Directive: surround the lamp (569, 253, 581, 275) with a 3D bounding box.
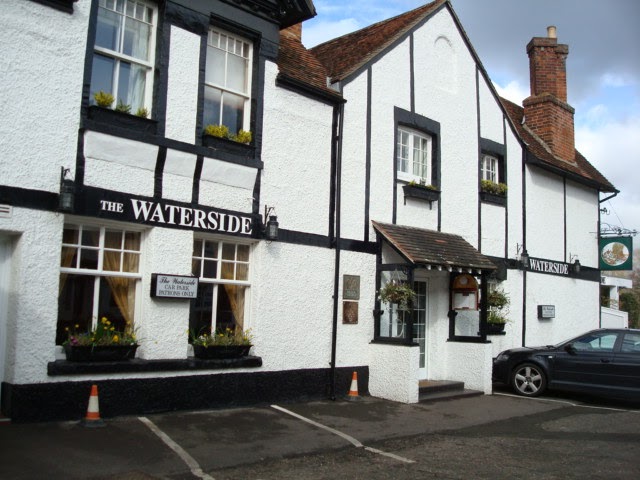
[{"bbox_3d":[8.305,0.794,20.782,0.246,0.688,0.723,1,-2,40],"label":"lamp"}]

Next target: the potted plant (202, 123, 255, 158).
[{"bbox_3d":[-1.861,-1.988,12.645,1.177,0.536,0.338,4,-2,-41],"label":"potted plant"}]

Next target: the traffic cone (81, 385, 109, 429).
[{"bbox_3d":[-3.688,2.689,10.440,0.328,0.657,0.513,3,-1,-20],"label":"traffic cone"}]

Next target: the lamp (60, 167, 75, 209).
[{"bbox_3d":[-4.190,-0.851,10.585,0.239,0.741,0.322,3,-1,-31],"label":"lamp"}]

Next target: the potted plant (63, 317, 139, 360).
[{"bbox_3d":[-3.771,1.794,11.057,1.163,0.744,0.581,4,-18,-34],"label":"potted plant"}]

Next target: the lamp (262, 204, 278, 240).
[{"bbox_3d":[-1.001,-0.372,12.946,0.273,0.714,0.183,8,-11,-29],"label":"lamp"}]

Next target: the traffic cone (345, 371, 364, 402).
[{"bbox_3d":[0.711,3.193,13.931,0.433,0.670,0.461,3,-9,-4],"label":"traffic cone"}]

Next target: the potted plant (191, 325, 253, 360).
[{"bbox_3d":[-1.858,2.023,12.297,1.183,0.498,0.432,4,-2,-42],"label":"potted plant"}]

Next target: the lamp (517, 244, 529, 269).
[{"bbox_3d":[5.965,0.515,18.762,0.578,0.729,0.193,4,-2,-43],"label":"lamp"}]

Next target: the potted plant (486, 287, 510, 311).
[{"bbox_3d":[4.868,1.662,17.674,0.539,0.595,0.570,5,-10,-16],"label":"potted plant"}]

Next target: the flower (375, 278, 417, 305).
[{"bbox_3d":[1.778,1.251,14.414,0.608,0.436,0.631,-6,-12,38],"label":"flower"}]

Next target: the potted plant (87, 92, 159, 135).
[{"bbox_3d":[-3.494,-2.194,11.336,1.278,0.691,0.249,4,-2,-36],"label":"potted plant"}]

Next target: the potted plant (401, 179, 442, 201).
[{"bbox_3d":[2.521,-1.180,16.007,1.181,0.329,0.286,4,-2,-38],"label":"potted plant"}]
